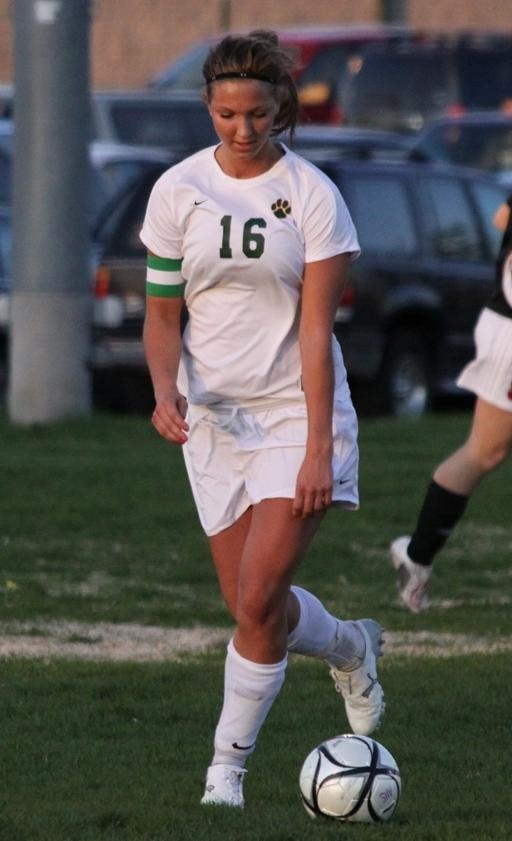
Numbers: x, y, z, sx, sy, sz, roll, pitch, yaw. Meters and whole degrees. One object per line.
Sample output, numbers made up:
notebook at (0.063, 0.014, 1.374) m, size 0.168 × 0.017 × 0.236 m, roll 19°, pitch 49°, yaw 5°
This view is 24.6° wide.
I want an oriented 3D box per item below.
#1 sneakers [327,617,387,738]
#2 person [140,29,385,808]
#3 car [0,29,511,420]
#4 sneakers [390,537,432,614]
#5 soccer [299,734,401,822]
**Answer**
sneakers at (0.270, 0.647, 2.934) m, size 0.111 × 0.330 × 0.154 m, roll 0°, pitch 41°, yaw 8°
person at (0.001, 0.000, 2.678) m, size 0.571 × 1.688 × 0.522 m, roll 0°, pitch 5°, yaw 5°
car at (0.352, -1.185, 8.456) m, size 3.705 × 1.744 × 1.976 m, roll -7°, pitch 7°, yaw -31°
sneakers at (0.449, 0.472, 3.441) m, size 0.096 × 0.245 × 0.114 m, roll -4°, pitch 17°, yaw 2°
soccer at (0.205, 0.776, 2.620) m, size 0.181 × 0.166 × 0.167 m, roll -7°, pitch -7°, yaw 6°
